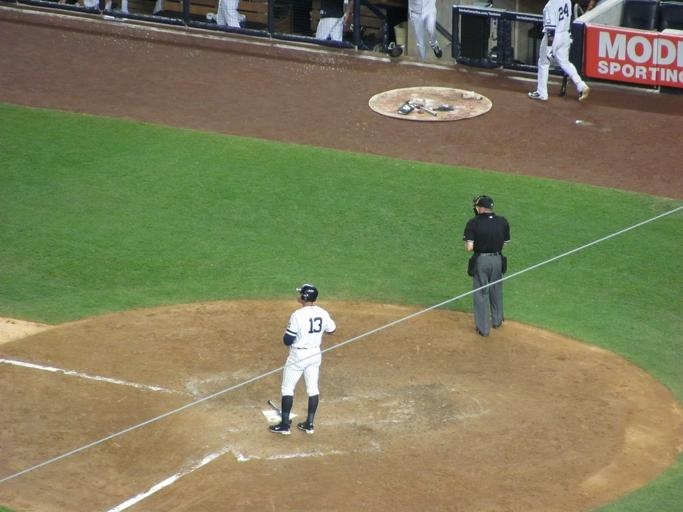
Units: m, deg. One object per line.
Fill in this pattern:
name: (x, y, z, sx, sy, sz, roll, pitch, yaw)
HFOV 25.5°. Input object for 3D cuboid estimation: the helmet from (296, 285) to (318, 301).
helmet: (-0.472, 0.501, 21.182, 0.271, 0.230, 0.302, 5, 13, -4)

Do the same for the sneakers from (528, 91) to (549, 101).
sneakers: (3.878, -3.186, 29.862, 0.363, 0.148, 0.151, 11, 27, 7)

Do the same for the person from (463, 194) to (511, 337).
person: (2.211, 0.133, 23.258, 0.748, 2.102, 0.552, 9, 14, 10)

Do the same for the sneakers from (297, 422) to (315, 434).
sneakers: (-0.494, 2.414, 21.314, 0.266, 0.115, 0.098, 20, 25, 38)

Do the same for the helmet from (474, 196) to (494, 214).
helmet: (2.210, -0.829, 23.282, 0.252, 0.275, 0.312, -18, 31, -38)

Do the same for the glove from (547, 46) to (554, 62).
glove: (4.027, -3.965, 29.255, 0.145, 0.184, 0.244, 22, -9, 9)

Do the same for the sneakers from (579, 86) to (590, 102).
sneakers: (4.738, -3.195, 29.554, 0.152, 0.344, 0.157, 15, 59, 11)

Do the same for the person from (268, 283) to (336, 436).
person: (-0.534, 1.469, 21.185, 0.709, 2.122, 0.465, 6, 14, -3)

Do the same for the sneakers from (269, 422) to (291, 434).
sneakers: (-0.850, 2.402, 21.334, 0.350, 0.167, 0.126, 9, 19, 15)
